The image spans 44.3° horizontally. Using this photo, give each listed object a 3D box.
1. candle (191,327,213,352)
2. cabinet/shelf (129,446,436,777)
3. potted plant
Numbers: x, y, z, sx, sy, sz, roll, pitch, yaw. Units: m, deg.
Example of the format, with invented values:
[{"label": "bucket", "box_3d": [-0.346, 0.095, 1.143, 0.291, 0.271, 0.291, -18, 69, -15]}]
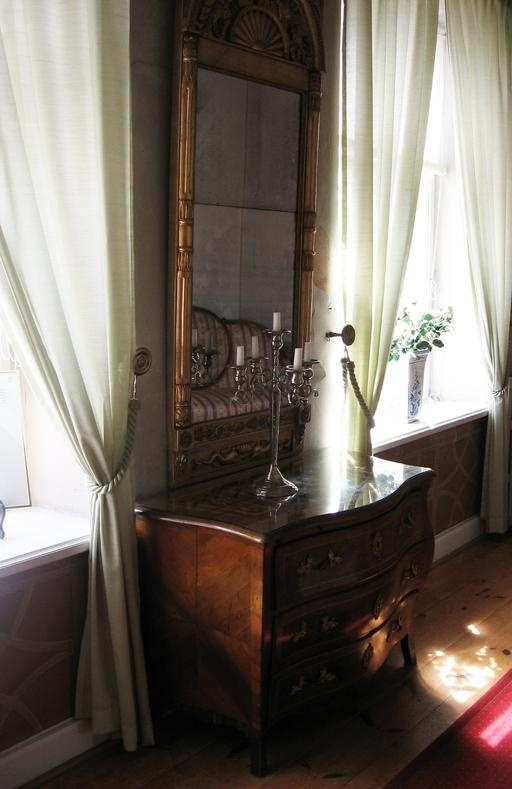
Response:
[{"label": "candle", "box_3d": [-0.159, -0.159, 1.811, 0.021, 0.066, 0.064, 3, 6, 35]}, {"label": "cabinet/shelf", "box_3d": [0.149, 0.601, 1.948, 0.902, 0.730, 0.491, -11, 15, -43]}, {"label": "potted plant", "box_3d": [0.844, -0.166, 3.253, 0.255, 0.613, 0.348, 6, 7, 32]}]
